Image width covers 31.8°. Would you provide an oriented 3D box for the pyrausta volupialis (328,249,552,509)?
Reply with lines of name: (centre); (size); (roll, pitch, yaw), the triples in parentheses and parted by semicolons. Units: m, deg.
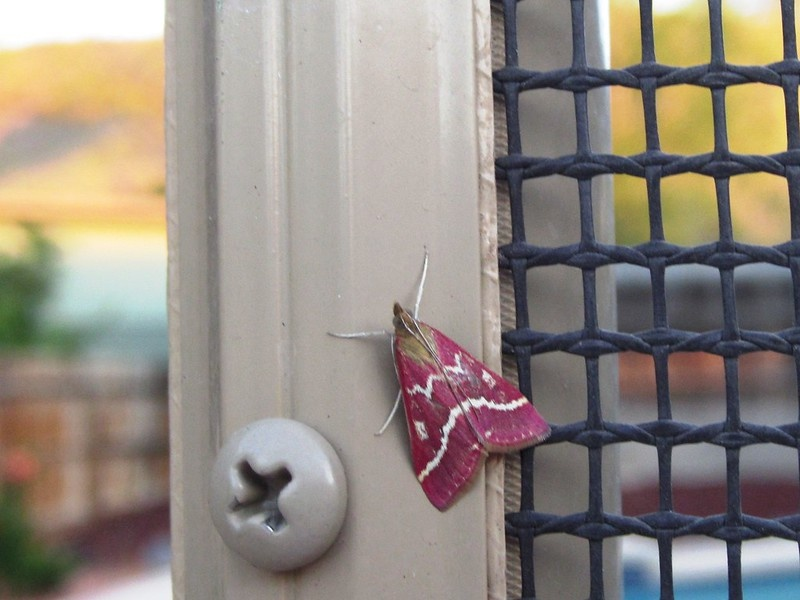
pyrausta volupialis: (0.024, 0.070, 1.238); (0.129, 0.213, 0.051); (-30, -28, -13)
